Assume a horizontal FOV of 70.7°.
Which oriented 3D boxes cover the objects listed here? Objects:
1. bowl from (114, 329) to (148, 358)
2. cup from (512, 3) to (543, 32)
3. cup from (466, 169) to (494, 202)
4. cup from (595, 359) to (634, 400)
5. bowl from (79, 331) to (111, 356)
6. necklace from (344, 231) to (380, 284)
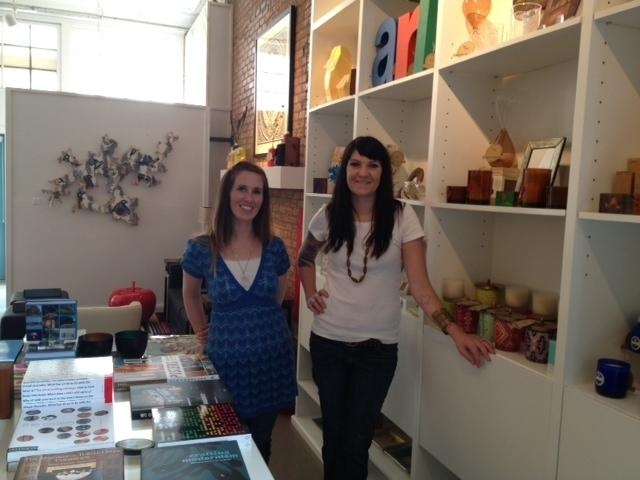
[{"bbox_3d":[-0.753,0.399,1.785,0.107,0.084,0.108,-2,-1,0],"label":"bowl"},{"bbox_3d":[0.820,-0.876,1.789,0.088,0.088,0.111,0,14,8],"label":"cup"},{"bbox_3d":[0.688,-0.226,1.931,0.110,0.172,0.122,-3,5,-33],"label":"cup"},{"bbox_3d":[0.941,0.446,1.443,0.119,0.109,0.093,6,-9,-13],"label":"cup"},{"bbox_3d":[-0.874,0.397,1.767,0.083,0.074,0.103,1,-2,24],"label":"bowl"},{"bbox_3d":[0.166,0.093,1.992,0.102,0.203,0.039,2,9,6],"label":"necklace"}]
